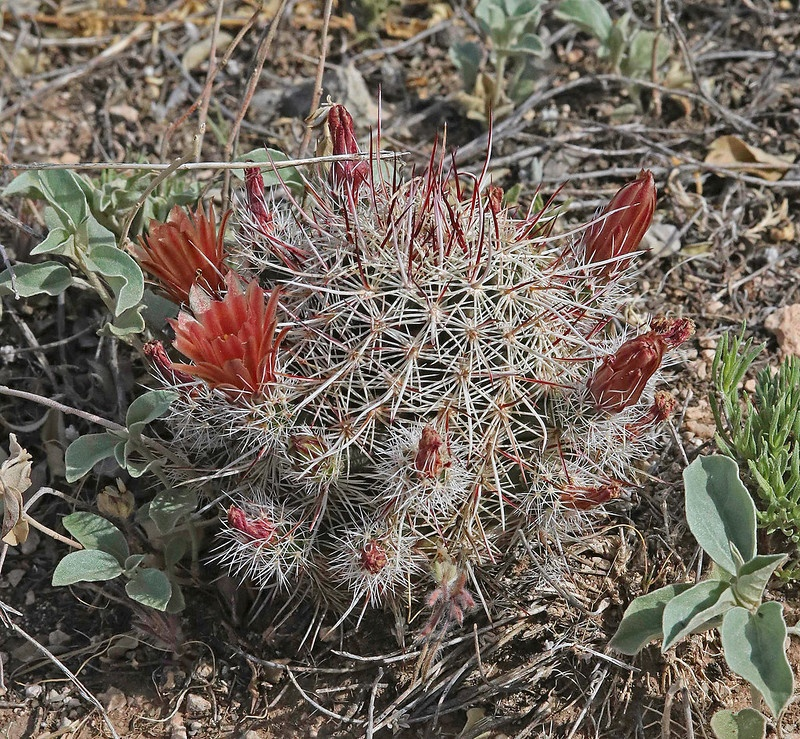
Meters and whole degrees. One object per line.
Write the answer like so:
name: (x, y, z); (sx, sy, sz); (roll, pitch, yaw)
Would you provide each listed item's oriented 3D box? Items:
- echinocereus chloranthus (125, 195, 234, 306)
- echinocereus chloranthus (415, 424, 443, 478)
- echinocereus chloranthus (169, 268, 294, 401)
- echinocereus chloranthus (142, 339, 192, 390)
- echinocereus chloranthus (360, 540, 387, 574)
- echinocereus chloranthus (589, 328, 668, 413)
echinocereus chloranthus: (-0.546, -0.294, 2.381); (0.181, 0.229, 0.239); (-33, 68, -23)
echinocereus chloranthus: (0.072, 0.182, 2.137); (0.055, 0.117, 0.050); (-1, 29, 5)
echinocereus chloranthus: (-0.417, -0.071, 2.183); (0.230, 0.260, 0.228); (6, 61, 1)
echinocereus chloranthus: (-0.623, -0.017, 2.404); (0.045, 0.147, 0.047); (-24, 21, 22)
echinocereus chloranthus: (-0.063, 0.466, 2.226); (0.067, 0.048, 0.076); (-4, 83, 21)
echinocereus chloranthus: (0.566, 0.017, 2.253); (0.141, 0.218, 0.106); (46, 43, 18)
